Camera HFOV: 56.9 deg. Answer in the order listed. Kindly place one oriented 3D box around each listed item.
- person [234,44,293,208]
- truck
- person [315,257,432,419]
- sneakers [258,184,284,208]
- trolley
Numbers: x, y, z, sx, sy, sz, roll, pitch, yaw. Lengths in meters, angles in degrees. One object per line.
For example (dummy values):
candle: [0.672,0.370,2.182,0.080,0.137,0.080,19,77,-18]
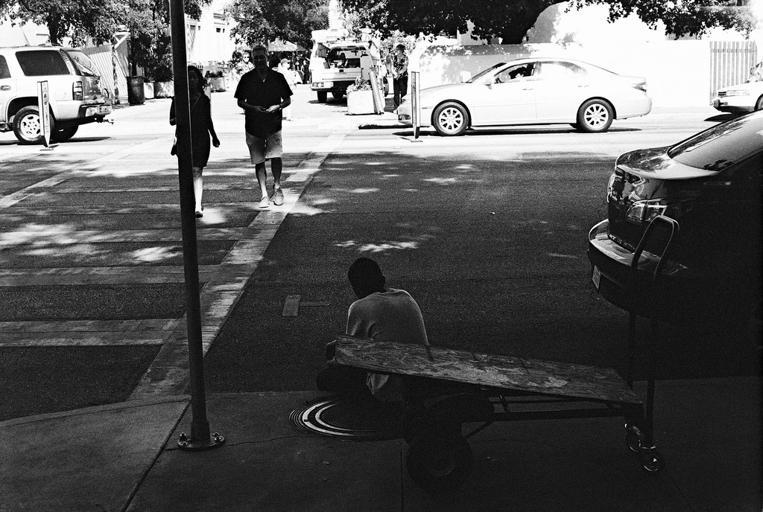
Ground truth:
person: [-1.886,-2.083,11.411,0.823,2.633,0.529,-5,18,-9]
truck: [-2.124,-9.517,37.121,2.970,2.631,5.237,-1,20,2]
person: [-0.013,0.445,5.004,0.731,0.882,0.665,3,14,41]
sneakers: [-1.838,-1.005,11.907,0.220,0.287,0.643,0,12,0]
trolley: [0.905,0.508,4.898,2.537,1.904,1.353,0,2,4]
